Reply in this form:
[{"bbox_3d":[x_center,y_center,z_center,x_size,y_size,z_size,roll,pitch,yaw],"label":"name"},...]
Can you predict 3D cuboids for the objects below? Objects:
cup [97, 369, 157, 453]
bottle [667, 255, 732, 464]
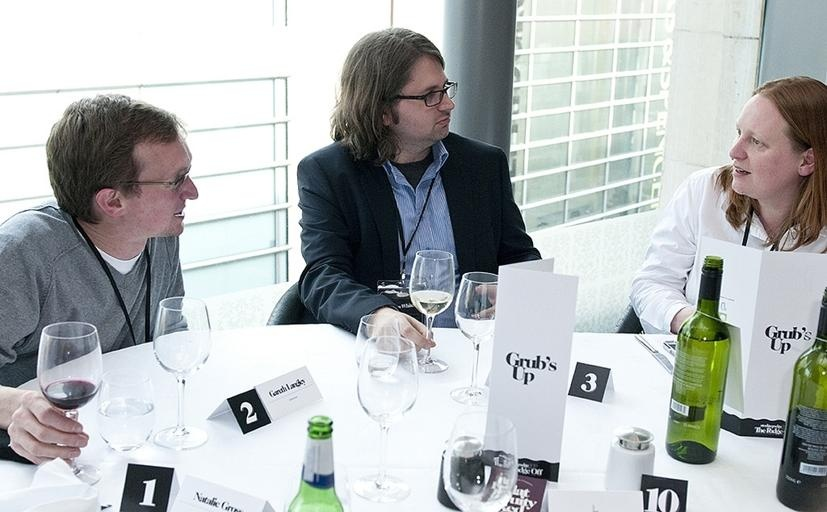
[{"bbox_3d":[-0.751,0.406,1.586,0.126,0.203,0.151,-1,0,-25],"label":"cup"},{"bbox_3d":[0.757,0.280,1.627,0.159,0.560,0.311,-1,0,28],"label":"bottle"}]
